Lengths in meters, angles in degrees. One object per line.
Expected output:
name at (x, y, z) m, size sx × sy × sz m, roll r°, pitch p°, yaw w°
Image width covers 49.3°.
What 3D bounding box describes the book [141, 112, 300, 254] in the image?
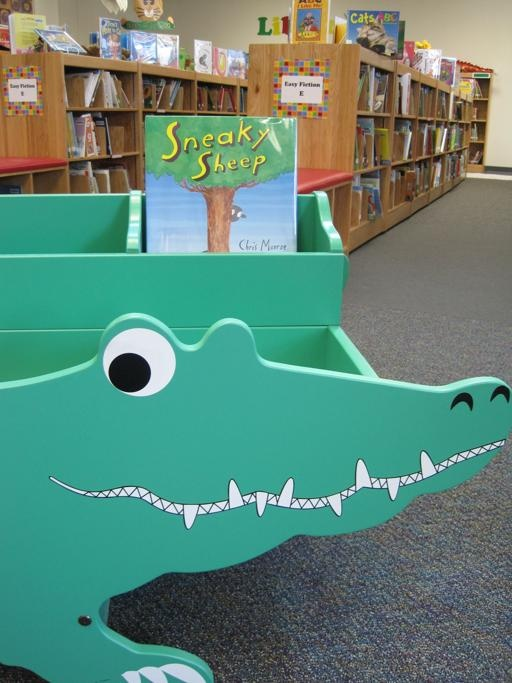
book at (-0.073, -0.313, 1.125) m, size 0.331 × 0.300 × 0.034 m, roll -1°, pitch 4°, yaw -4°
